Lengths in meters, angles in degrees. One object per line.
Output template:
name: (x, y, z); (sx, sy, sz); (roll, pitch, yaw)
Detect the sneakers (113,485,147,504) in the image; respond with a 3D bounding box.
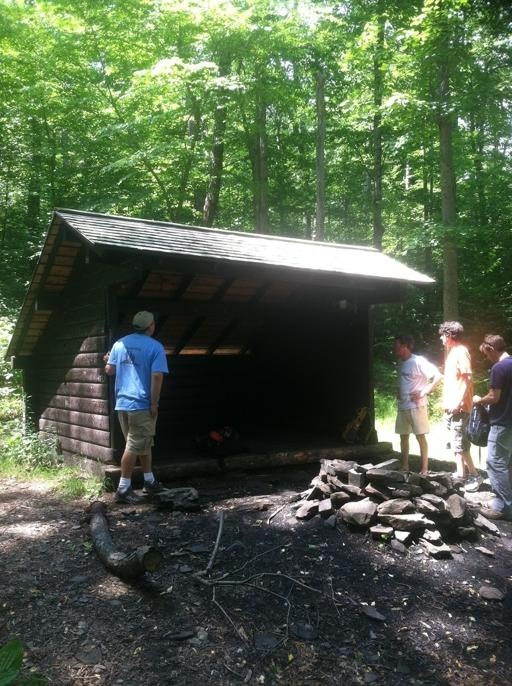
sneakers: (-1.351, 1.614, 6.243); (0.350, 0.153, 0.132); (1, -3, 15)

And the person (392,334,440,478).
person: (2.058, 0.835, 7.563); (0.435, 1.744, 0.795); (-2, 12, -21)

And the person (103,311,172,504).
person: (-1.294, 0.721, 6.361); (0.611, 2.055, 0.795); (-1, 12, -14)

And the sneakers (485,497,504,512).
sneakers: (2.496, 1.690, 6.182); (0.097, 0.134, 0.145); (5, -4, 11)

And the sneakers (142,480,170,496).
sneakers: (-1.043, 1.587, 6.372); (0.373, 0.148, 0.125); (1, 11, -7)

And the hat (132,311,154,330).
hat: (-1.246, -0.243, 6.498); (0.181, 0.143, 0.234); (8, 46, 21)
